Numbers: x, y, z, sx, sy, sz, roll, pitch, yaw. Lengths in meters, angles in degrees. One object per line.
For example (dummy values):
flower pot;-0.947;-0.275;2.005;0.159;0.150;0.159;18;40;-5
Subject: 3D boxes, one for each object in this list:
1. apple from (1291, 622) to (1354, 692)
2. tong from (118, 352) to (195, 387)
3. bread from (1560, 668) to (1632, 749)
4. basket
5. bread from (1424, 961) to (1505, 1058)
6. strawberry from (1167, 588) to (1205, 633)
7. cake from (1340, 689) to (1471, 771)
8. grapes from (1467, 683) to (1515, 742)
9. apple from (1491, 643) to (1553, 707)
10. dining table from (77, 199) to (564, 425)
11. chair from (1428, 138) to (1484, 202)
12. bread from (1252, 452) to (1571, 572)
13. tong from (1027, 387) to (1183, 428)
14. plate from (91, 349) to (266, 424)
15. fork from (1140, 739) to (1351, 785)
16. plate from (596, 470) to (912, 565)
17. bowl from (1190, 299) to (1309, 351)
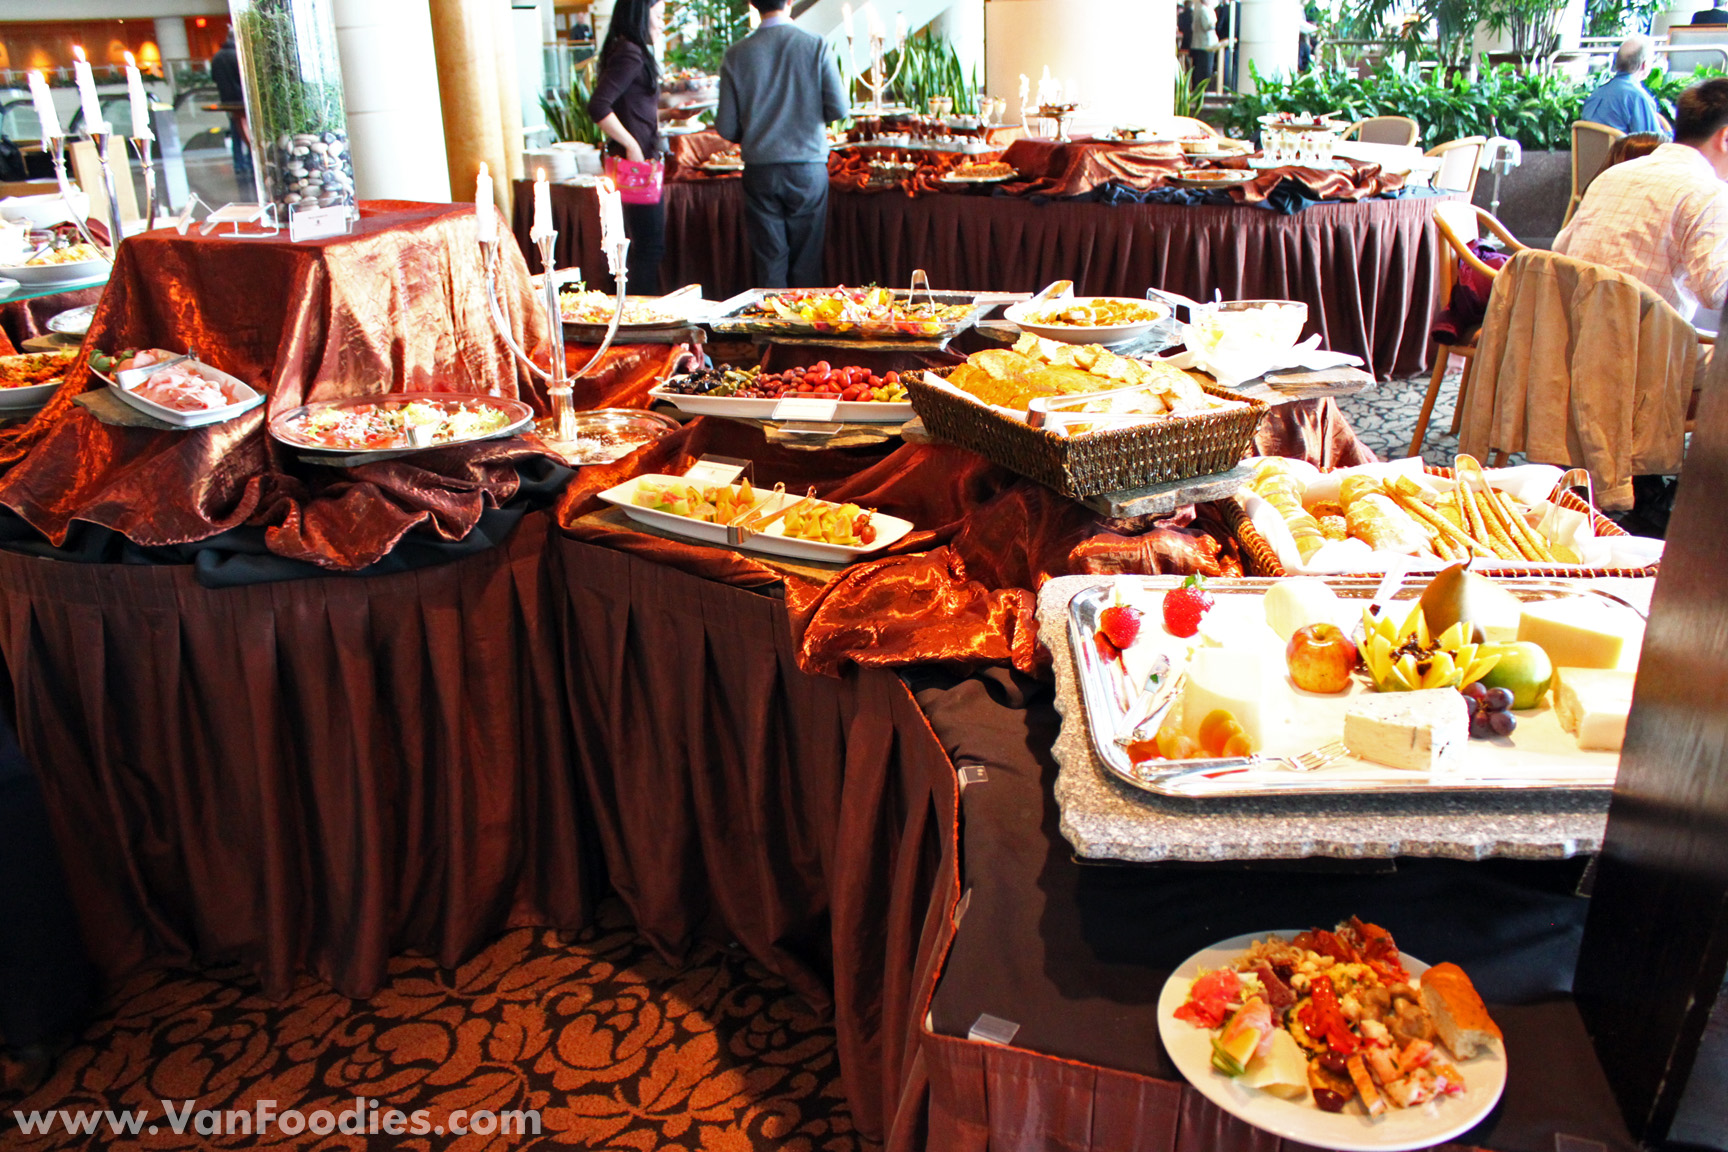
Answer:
apple;0.612;0.103;1.584;0.082;0.077;0.084;13;41;45
tong;-1.380;-0.402;2.244;0.099;0.030;0.097;5;28;1
bread;0.919;0.167;1.463;0.077;0.070;0.096;8;22;24
basket;0.347;-0.313;1.979;0.285;0.086;0.422;-15;28;-29
bread;0.665;0.476;1.297;0.058;0.033;0.099;-4;26;-5
strawberry;0.466;0.051;1.691;0.051;0.058;0.066;11;24;30
cake;0.650;0.185;1.408;0.113;0.070;0.110;9;35;43
grapes;0.795;0.171;1.468;0.059;0.055;0.051;3;21;13
apple;0.852;0.127;1.500;0.080;0.076;0.078;-6;9;1
dining table;-1.075;-0.516;2.445;0.583;0.298;0.585;10;18;22
chair;2.985;-2.053;5.870;0.232;0.302;0.932;8;22;24
bread;1.034;-0.064;2.194;0.441;0.146;0.323;0;30;2
tong;0.407;-0.284;1.986;0.202;0.035;0.110;-7;24;-6
plate;-1.337;-0.328;2.236;0.270;0.064;0.170;22;42;12
fork;0.475;0.229;1.423;0.296;0.038;0.032;-2;-10;-4
plate;-0.243;-0.121;2.234;0.565;0.059;0.218;13;28;23
bowl;0.776;-0.510;2.321;0.152;0.063;0.146;0;13;0
